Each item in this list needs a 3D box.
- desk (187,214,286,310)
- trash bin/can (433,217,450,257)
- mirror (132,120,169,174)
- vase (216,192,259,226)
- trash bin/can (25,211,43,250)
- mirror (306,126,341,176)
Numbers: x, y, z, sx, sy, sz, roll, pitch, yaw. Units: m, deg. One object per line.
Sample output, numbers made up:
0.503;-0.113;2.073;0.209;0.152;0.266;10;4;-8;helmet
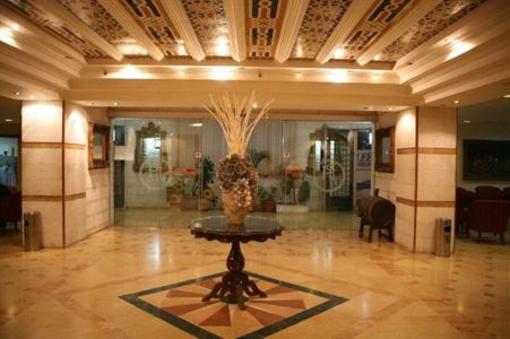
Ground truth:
-0.345;1.632;5.681;1.588;1.071;1.557;12;-15;-35;desk
4.398;1.596;7.849;0.363;0.865;0.333;3;9;9;trash bin/can
-3.088;-0.665;9.841;1.009;1.506;0.308;0;9;-10;mirror
-0.313;0.670;5.837;0.787;0.570;0.666;3;-7;-36;vase
-5.233;1.458;7.856;0.371;0.878;0.321;-2;9;-21;trash bin/can
2.056;-0.588;9.896;1.063;1.440;0.242;2;9;4;mirror
